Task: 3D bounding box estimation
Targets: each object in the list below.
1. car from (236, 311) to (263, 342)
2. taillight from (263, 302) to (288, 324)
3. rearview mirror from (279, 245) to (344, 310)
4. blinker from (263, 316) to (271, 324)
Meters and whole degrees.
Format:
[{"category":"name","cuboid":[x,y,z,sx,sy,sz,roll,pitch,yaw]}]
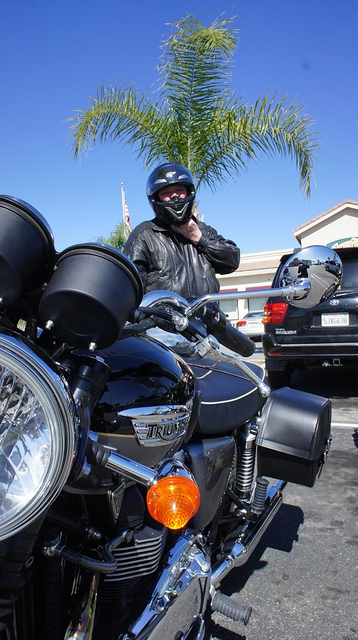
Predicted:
[{"category":"car","cuboid":[2.802,0.445,17.094,1.253,1.157,2.949,0,4,13]},{"category":"taillight","cuboid":[1.242,-0.091,5.585,0.203,0.294,0.280,2,-2,9]},{"category":"rearview mirror","cuboid":[0.306,-0.111,1.012,0.132,0.157,0.110,3,10,21]},{"category":"blinker","cuboid":[1.144,0.004,5.639,0.078,0.084,0.078,-3,6,-28]}]
